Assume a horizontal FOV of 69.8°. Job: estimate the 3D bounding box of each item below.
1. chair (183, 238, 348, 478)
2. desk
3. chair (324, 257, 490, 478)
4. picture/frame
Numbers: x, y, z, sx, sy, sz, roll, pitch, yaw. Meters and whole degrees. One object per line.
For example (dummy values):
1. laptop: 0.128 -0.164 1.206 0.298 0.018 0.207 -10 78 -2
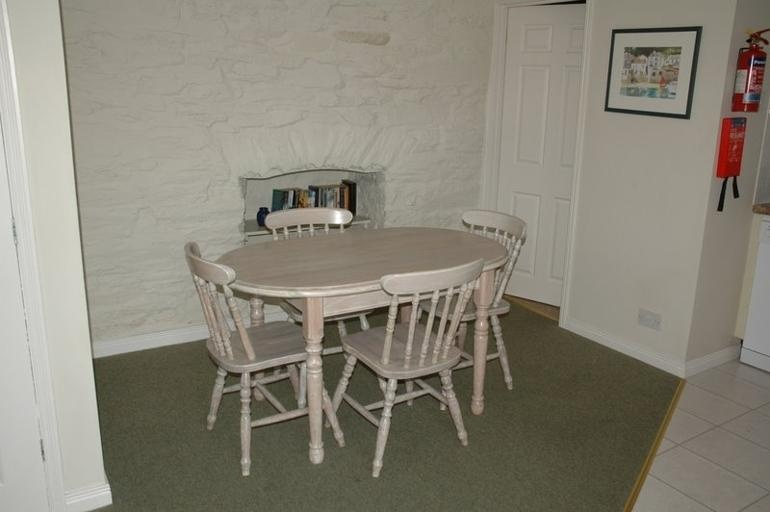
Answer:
1. chair: -0.826 0.531 3.497 0.739 1.290 0.909 -10 22 -21
2. desk: -0.127 0.559 3.890 2.017 1.168 1.440 -6 14 -27
3. chair: 0.098 0.620 3.543 0.810 1.254 0.915 -4 13 -26
4. picture/frame: 2.050 -1.396 4.157 0.780 0.726 0.032 12 15 43
